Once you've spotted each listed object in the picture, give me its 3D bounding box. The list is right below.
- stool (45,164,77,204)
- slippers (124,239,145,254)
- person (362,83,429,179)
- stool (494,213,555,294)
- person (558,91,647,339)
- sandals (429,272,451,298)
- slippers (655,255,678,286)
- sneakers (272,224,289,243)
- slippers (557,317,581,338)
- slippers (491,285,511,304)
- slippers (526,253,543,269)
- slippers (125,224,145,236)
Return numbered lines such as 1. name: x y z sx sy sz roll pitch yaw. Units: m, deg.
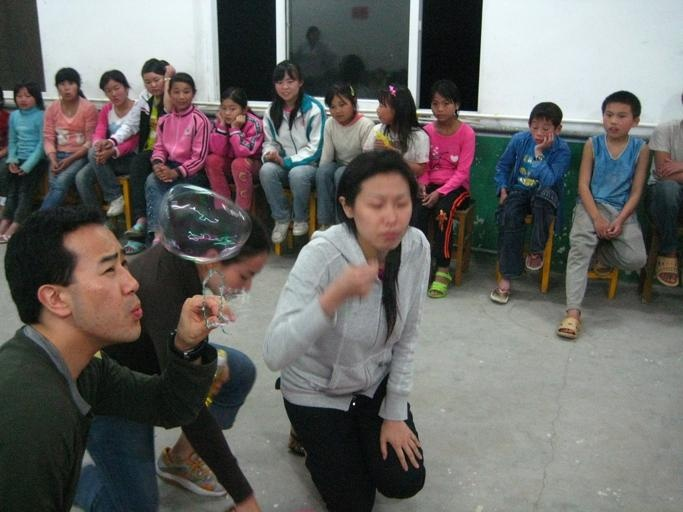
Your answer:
1. stool: -2.858 -0.709 5.514 0.308 0.412 0.412 -14 21 -41
2. slippers: -1.765 -0.081 4.672 0.103 0.089 0.282 -5 5 -4
3. person: 0.473 -1.057 4.575 0.452 0.786 0.647 -23 36 -28
4. stool: 1.406 -0.012 4.221 0.370 0.699 0.390 8 32 21
5. person: 1.934 -0.375 3.915 0.513 1.535 1.103 8 18 28
6. sandals: 0.758 0.221 4.242 0.124 0.167 0.203 9 18 29
7. slippers: 2.377 0.103 4.007 0.135 0.216 0.169 7 17 26
8. sneakers: -0.554 -0.224 4.957 0.085 0.107 0.248 4 31 7
9. slippers: 1.506 0.476 3.629 0.114 0.099 0.175 11 20 34
10. slippers: 1.198 0.279 4.151 0.147 0.108 0.214 4 17 16
11. slippers: 1.468 0.024 4.168 0.077 0.056 0.141 2 53 21
12. slippers: -1.915 -0.236 5.105 0.216 0.094 0.079 0 1 -36
